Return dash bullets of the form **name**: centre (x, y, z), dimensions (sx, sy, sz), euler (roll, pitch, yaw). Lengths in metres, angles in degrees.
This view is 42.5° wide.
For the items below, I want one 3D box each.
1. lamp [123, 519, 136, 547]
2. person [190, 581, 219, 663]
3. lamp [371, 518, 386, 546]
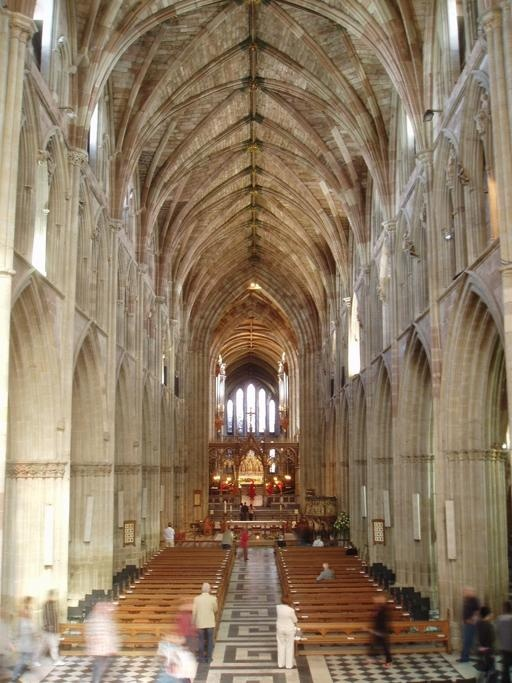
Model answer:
- **lamp**: centre (-4.257, 6.457, 22.139), dimensions (0.397, 0.779, 0.259), euler (3, -15, -19)
- **person**: centre (-0.870, 4.794, 11.311), dimensions (0.406, 1.214, 0.391), euler (0, -2, -4)
- **lamp**: centre (3.770, 5.930, 20.496), dimensions (0.455, 0.746, 0.350), euler (-10, -16, 27)
